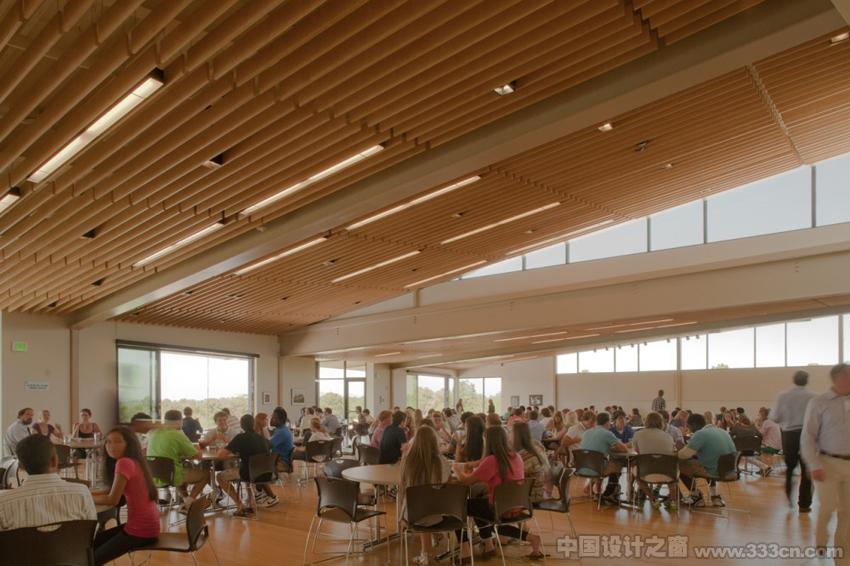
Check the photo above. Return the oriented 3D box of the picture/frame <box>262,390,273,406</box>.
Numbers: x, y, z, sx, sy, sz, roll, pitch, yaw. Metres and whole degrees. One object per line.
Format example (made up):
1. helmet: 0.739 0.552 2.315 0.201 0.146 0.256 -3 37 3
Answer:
1. picture/frame: -5.396 3.924 21.387 0.056 0.474 0.567 -9 -14 34

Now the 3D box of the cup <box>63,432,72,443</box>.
1. cup: -8.469 3.672 14.877 0.180 0.171 0.219 12 -24 -38

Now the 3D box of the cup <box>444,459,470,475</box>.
1. cup: 0.397 2.547 8.672 0.399 0.133 0.296 -5 -10 38

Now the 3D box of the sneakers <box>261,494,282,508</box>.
1. sneakers: -2.834 4.000 11.491 0.359 0.135 0.127 -4 -10 16

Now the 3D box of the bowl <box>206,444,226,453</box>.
1. bowl: -3.948 3.112 11.790 0.371 0.079 0.361 -1 -8 0

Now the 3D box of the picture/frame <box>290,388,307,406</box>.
1. picture/frame: -4.540 4.069 22.334 0.067 0.521 0.681 -11 -14 35

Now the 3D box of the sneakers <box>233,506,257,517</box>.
1. sneakers: -3.125 3.956 10.874 0.449 0.170 0.147 -2 -13 16

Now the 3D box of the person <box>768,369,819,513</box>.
1. person: 6.142 2.654 10.712 0.930 2.281 0.760 5 -7 -6

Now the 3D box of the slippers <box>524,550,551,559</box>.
1. slippers: 1.557 3.763 8.710 0.384 0.149 0.111 -4 3 8
